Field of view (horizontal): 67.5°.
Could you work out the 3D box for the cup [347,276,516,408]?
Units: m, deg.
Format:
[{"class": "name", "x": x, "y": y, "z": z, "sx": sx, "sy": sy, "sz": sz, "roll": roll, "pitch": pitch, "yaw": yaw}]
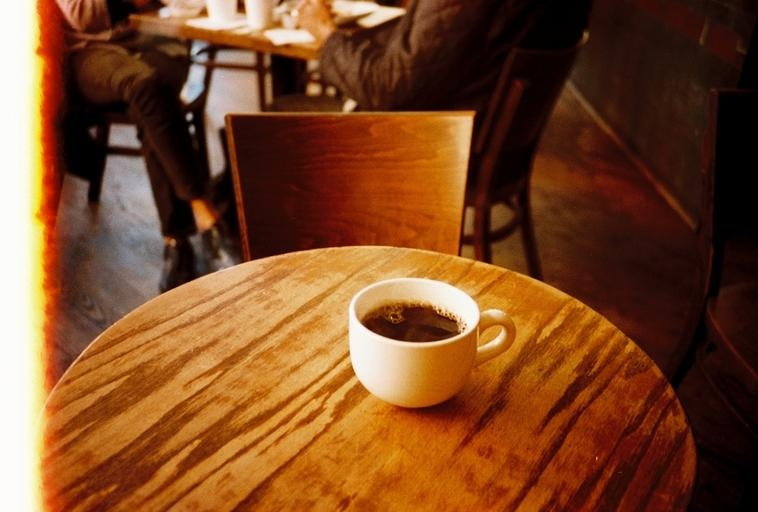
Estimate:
[{"class": "cup", "x": 0.085, "y": 0.152, "z": 0.996, "sx": 0.262, "sy": 0.149, "sz": 0.212, "roll": 4, "pitch": 28, "yaw": 1}]
